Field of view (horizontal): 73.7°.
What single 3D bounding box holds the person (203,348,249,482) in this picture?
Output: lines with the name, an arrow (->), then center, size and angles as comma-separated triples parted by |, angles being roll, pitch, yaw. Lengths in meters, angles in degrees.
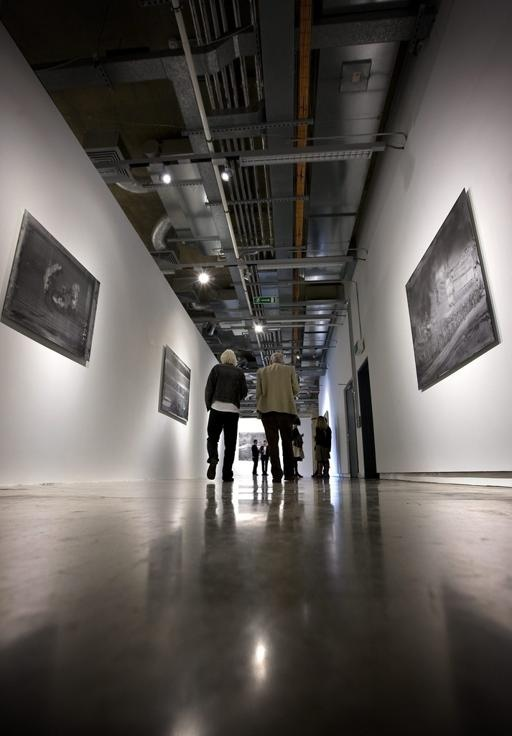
person -> -0.399, 0.498, 4.072 | 0.539, 1.666, 0.908 | 3, -11, -4

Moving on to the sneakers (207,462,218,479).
sneakers -> -0.525, 1.134, 3.733 | 0.089, 0.159, 0.253 | 5, -13, -11

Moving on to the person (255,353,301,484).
person -> 0.320, 0.468, 3.697 | 0.560, 1.442, 0.757 | 6, -11, -19
